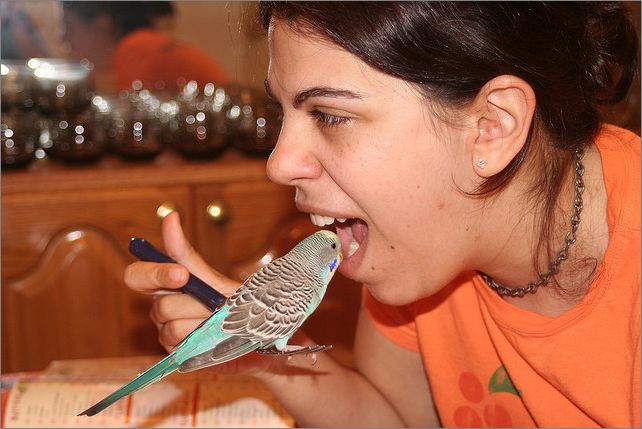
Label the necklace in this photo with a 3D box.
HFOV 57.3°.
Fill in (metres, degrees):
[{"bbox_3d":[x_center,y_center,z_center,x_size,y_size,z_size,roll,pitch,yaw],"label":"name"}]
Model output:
[{"bbox_3d":[0.487,0.022,1.207,0.186,0.293,0.040,-8,-12,35],"label":"necklace"}]
